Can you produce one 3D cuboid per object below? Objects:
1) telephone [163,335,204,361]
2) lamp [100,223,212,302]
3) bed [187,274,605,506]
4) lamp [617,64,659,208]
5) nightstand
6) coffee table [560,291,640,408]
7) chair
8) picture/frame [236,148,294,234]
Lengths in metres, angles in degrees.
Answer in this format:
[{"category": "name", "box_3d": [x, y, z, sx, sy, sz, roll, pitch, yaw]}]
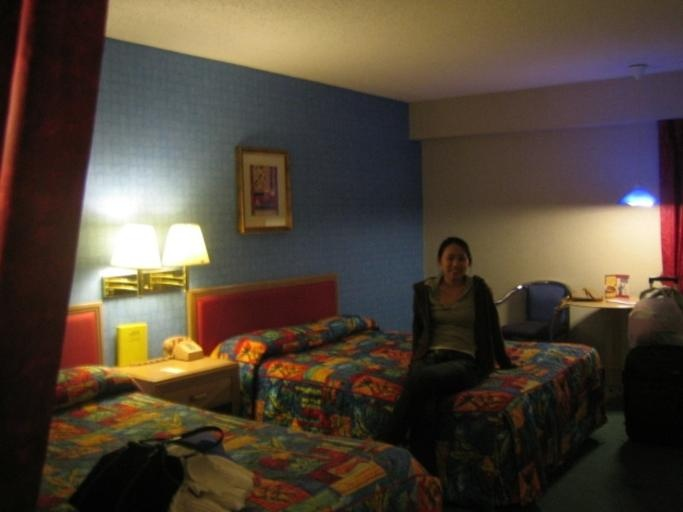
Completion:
[{"category": "telephone", "box_3d": [-1.165, 0.677, 3.856, 0.174, 0.105, 0.218, 2, 2, 31]}, {"category": "lamp", "box_3d": [-1.306, 0.029, 3.700, 0.395, 0.514, 0.611, 3, 6, 34]}, {"category": "bed", "box_3d": [0.288, 0.857, 3.627, 2.075, 0.835, 1.690, 3, 8, 34]}, {"category": "lamp", "box_3d": [2.786, -1.087, 4.882, 0.284, 1.259, 0.661, 2, 6, 31]}, {"category": "nightstand", "box_3d": [-1.006, 0.847, 3.525, 0.524, 0.386, 0.521, 3, 5, 37]}, {"category": "coffee table", "box_3d": [2.716, 0.873, 5.300, 0.898, 0.936, 0.877, -2, 1, -41]}, {"category": "chair", "box_3d": [2.090, 0.579, 5.583, 0.628, 0.786, 0.660, 2, 2, 34]}, {"category": "picture/frame", "box_3d": [-0.698, -0.581, 4.609, 0.100, 0.902, 0.794, -1, 1, 39]}]
